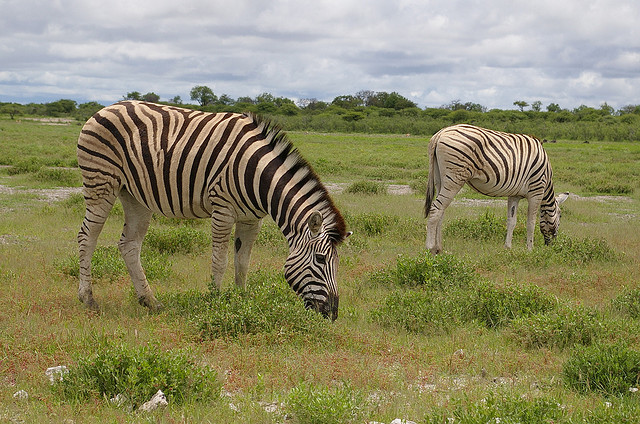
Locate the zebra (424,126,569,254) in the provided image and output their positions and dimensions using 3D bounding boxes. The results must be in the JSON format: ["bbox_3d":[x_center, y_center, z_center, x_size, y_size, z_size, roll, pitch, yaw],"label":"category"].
[{"bbox_3d":[3.987,-0.550,15.619,3.268,2.803,1.224,0,8,-10],"label":"zebra"}]

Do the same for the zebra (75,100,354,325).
[{"bbox_3d":[-1.879,0.186,11.590,4.952,3.734,1.431,8,6,20],"label":"zebra"}]
